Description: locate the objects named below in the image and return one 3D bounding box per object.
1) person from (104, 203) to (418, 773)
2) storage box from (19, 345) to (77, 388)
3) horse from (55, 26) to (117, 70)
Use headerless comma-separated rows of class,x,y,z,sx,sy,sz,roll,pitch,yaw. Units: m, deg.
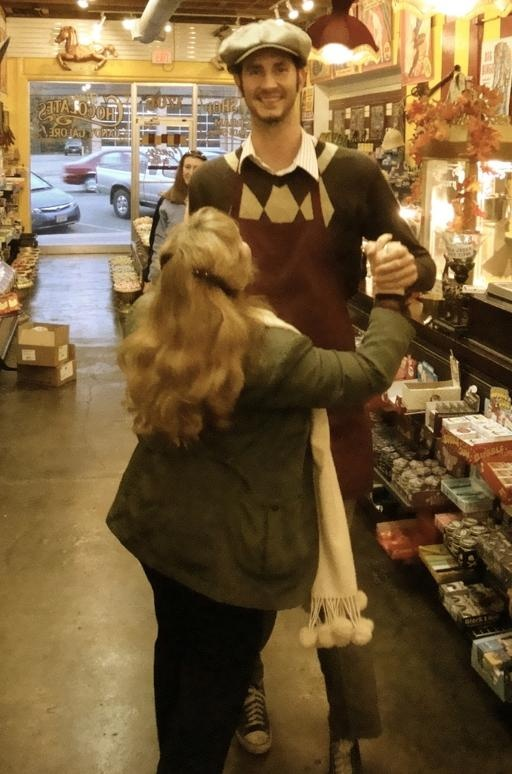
person,0.011,0.227,0.958,0.475,1.001,0.378,-6,11,-33
storage box,-2.009,-0.238,5.434,0.413,0.326,0.433,0,11,1
horse,-3.522,-6.951,11.593,1.140,0.703,0.447,-4,10,-19
